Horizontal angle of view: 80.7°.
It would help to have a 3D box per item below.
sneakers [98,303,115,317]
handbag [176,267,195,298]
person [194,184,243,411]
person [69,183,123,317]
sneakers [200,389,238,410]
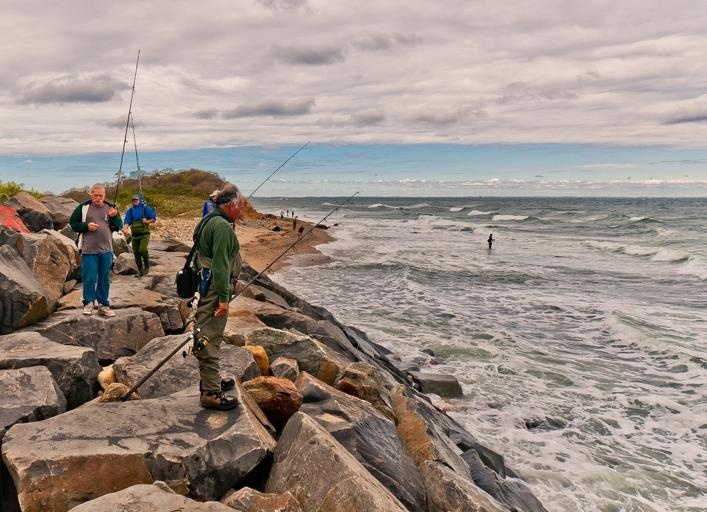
[{"bbox_3d":[-4.178,0.916,7.048,0.461,0.119,0.134,5,9,25],"label":"sneakers"},{"bbox_3d":[-2.048,0.312,5.023,0.256,0.357,0.139,5,10,30],"label":"handbag"},{"bbox_3d":[-1.591,0.440,4.951,0.592,2.593,0.783,-2,9,-13],"label":"person"},{"bbox_3d":[-4.434,-0.140,7.184,0.752,2.205,0.939,-3,9,-20],"label":"person"},{"bbox_3d":[-1.555,1.666,4.838,0.485,0.205,0.182,-1,9,-7],"label":"sneakers"}]
